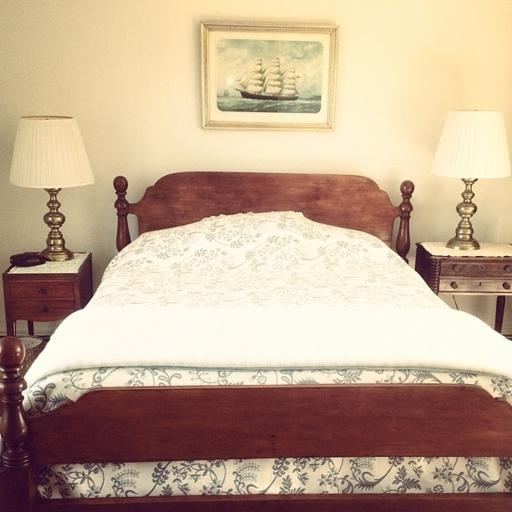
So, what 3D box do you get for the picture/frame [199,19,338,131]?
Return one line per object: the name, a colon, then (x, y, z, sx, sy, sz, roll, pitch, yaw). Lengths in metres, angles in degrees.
picture/frame: (0.055, -1.071, 3.609, 0.745, 0.441, 0.026, 0, 12, -3)
